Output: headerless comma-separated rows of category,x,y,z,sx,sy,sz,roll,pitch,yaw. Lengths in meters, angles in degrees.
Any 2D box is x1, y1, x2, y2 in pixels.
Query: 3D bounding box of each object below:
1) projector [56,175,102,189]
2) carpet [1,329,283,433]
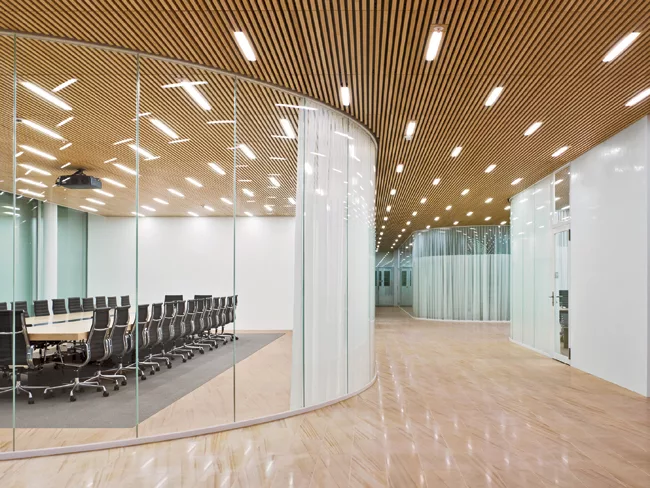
projector,-2.827,-0.709,4.993,0.563,0.184,0.147,-1,-3,14
carpet,-2.200,1.582,5.222,2.736,0.974,0.672,1,-2,-14
